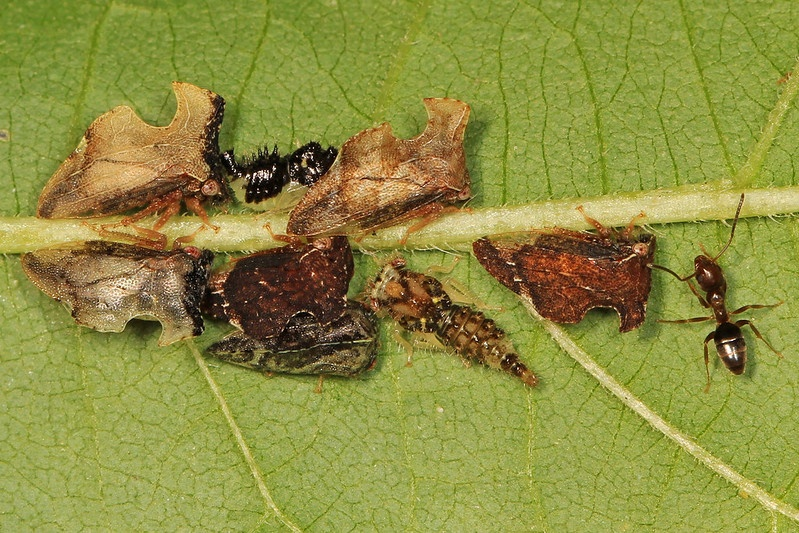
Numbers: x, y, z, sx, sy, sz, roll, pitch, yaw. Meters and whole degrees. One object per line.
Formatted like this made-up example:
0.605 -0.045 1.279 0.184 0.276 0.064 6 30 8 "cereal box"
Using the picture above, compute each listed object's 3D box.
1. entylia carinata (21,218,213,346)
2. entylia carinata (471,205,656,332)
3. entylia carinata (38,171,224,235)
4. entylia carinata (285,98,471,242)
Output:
-2.748 0.249 9.163 1.714 0.291 0.980 4 79 0 "entylia carinata"
1.574 0.045 9.148 1.670 0.232 0.975 10 79 1 "entylia carinata"
-2.718 -0.738 9.408 1.836 1.065 0.438 5 97 -18 "entylia carinata"
-0.123 -0.835 9.195 1.902 0.484 1.141 -22 92 3 "entylia carinata"
